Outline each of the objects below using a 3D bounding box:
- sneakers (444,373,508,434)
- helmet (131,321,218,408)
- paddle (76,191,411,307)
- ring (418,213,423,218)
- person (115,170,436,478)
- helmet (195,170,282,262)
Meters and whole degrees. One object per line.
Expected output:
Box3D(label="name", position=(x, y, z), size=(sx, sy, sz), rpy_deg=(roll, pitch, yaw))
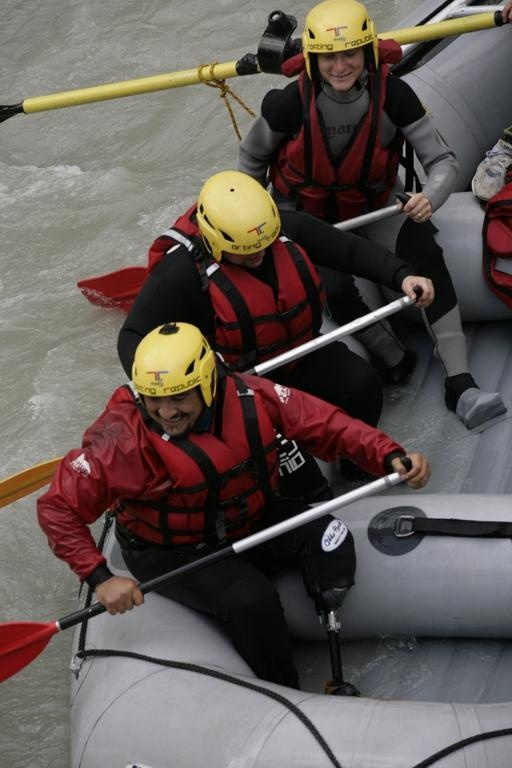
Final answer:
Box3D(label="sneakers", position=(0.657, 0.051, 2.211), size=(0.125, 0.070, 0.195), rpy_deg=(-29, 34, -4))
Box3D(label="helmet", position=(-0.167, -0.032, 1.563), size=(0.148, 0.162, 0.180), rpy_deg=(4, 52, 22))
Box3D(label="paddle", position=(-0.027, -0.395, 2.218), size=(0.656, 0.635, 0.231), rpy_deg=(-13, 83, 23))
Box3D(label="ring", position=(0.486, -0.498, 2.166), size=(0.011, 0.014, 0.005), rpy_deg=(0, 11, 9))
Box3D(label="person", position=(0.094, -0.151, 1.911), size=(0.621, 0.743, 0.510), rpy_deg=(-44, 56, -4))
Box3D(label="helmet", position=(-0.046, -0.413, 1.868), size=(0.179, 0.177, 0.231), rpy_deg=(-33, 66, -16))
